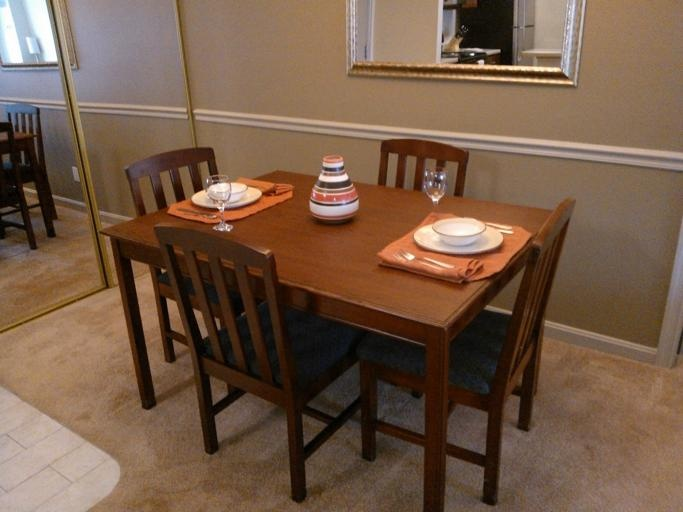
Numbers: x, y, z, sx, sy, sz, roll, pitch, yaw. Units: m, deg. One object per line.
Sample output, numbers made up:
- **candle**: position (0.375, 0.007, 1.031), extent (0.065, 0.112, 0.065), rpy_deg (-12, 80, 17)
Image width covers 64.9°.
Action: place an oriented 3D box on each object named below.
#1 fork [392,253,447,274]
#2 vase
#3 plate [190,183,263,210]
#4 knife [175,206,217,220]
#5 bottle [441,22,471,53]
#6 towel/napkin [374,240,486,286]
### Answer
- **fork**: position (0.298, 0.012, 2.061), extent (0.235, 0.036, 0.065), rpy_deg (18, 37, 29)
- **vase**: position (-0.034, -0.313, 2.436), extent (0.218, 0.270, 0.232), rpy_deg (13, 29, 28)
- **plate**: position (-0.535, -0.275, 2.596), extent (0.197, 0.030, 0.199), rpy_deg (-14, 32, -29)
- **knife**: position (-0.672, -0.200, 2.498), extent (0.156, 0.013, 0.038), rpy_deg (13, 34, 26)
- **bottle**: position (0.626, -1.199, 2.958), extent (0.086, 0.154, 0.144), rpy_deg (-23, 29, -34)
- **towel/napkin**: position (0.328, 0.028, 2.029), extent (0.268, 0.051, 0.165), rpy_deg (13, 33, 28)
